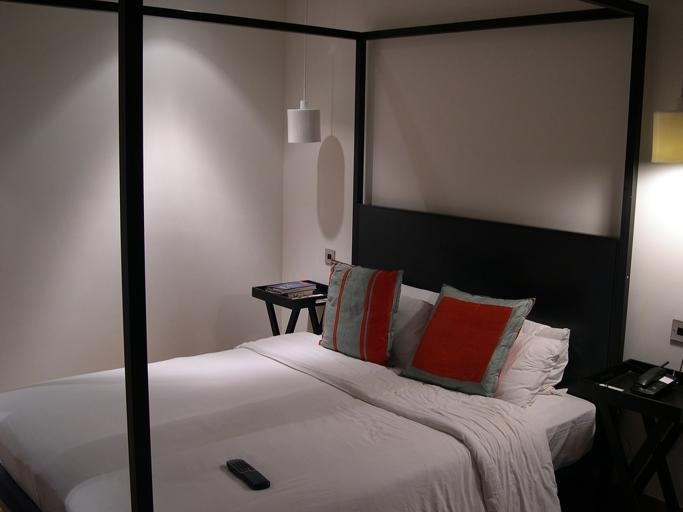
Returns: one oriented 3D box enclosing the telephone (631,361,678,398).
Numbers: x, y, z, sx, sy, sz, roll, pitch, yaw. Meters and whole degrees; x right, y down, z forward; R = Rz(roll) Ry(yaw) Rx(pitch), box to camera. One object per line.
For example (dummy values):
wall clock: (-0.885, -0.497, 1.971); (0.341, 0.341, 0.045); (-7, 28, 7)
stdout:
telephone: (1.401, 0.535, 2.322); (0.214, 0.076, 0.116); (-27, 19, -33)

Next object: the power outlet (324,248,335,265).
power outlet: (-0.087, -0.006, 3.941); (0.017, 0.140, 0.110); (-4, 7, -38)

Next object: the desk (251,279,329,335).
desk: (-0.343, 0.327, 3.883); (0.430, 0.472, 0.452); (-4, 9, -36)
